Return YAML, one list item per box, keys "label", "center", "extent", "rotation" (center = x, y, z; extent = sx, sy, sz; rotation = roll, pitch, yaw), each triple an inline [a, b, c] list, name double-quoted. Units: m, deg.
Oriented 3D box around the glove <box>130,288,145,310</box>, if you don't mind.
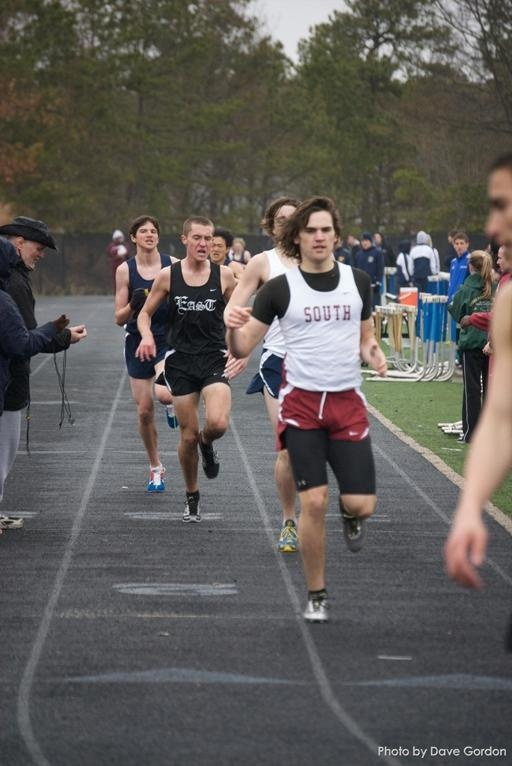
- label: "glove"
  center: [-0.847, -0.581, 6.180]
  extent: [0.053, 0.149, 0.112]
  rotation: [9, -7, 12]
